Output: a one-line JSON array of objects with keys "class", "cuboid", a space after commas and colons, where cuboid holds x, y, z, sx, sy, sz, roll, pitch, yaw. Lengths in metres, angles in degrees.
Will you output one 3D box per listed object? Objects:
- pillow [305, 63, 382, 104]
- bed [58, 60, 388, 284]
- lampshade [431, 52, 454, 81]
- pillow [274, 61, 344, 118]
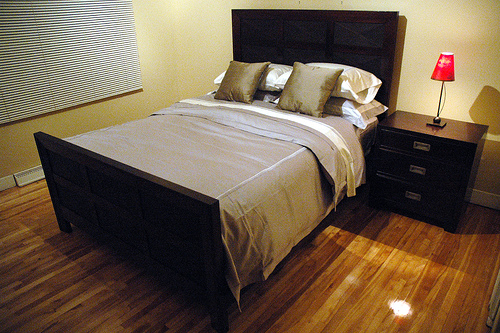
[{"class": "pillow", "cuboid": [1.128, -0.891, 3.793, 0.657, 0.212, 0.412, 23, 56, 35]}, {"class": "bed", "cuboid": [0.123, -0.217, 3.380, 2.560, 1.099, 2.538, 23, 40, 32]}, {"class": "lampshade", "cuboid": [1.872, -0.977, 3.447, 0.240, 0.243, 0.208, -3, 23, -2]}, {"class": "pillow", "cuboid": [0.605, -0.820, 3.728, 0.617, 0.571, 0.190, 20, 0, 38]}]
